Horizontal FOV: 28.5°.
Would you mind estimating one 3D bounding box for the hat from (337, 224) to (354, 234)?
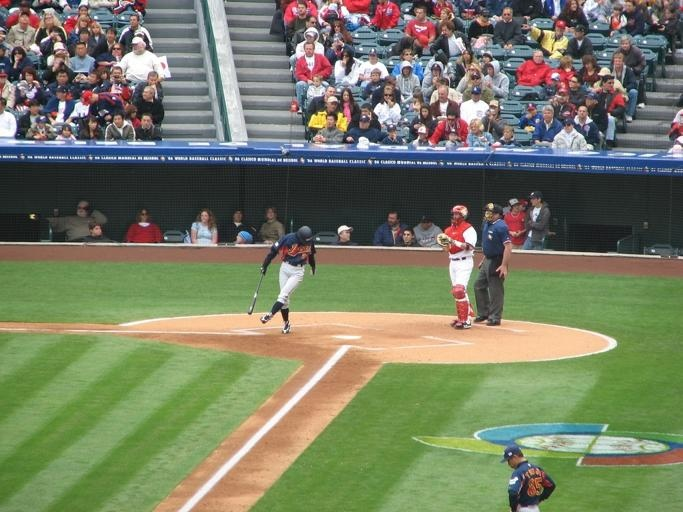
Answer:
[{"bbox_3d":[0.059,-0.657,32.517,0.295,0.137,0.207,-14,-4,30],"label":"hat"}]

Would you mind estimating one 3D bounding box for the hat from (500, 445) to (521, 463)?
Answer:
[{"bbox_3d":[2.370,2.773,18.644,0.281,0.143,0.188,-11,18,22],"label":"hat"}]

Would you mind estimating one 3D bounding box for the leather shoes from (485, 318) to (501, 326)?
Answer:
[{"bbox_3d":[2.999,1.286,26.022,0.266,0.224,0.123,1,8,1],"label":"leather shoes"}]

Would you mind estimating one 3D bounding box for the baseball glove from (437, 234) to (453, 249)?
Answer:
[{"bbox_3d":[1.986,-0.329,25.608,0.284,0.225,0.268,-18,-34,11],"label":"baseball glove"}]

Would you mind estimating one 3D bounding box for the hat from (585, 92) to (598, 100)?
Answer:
[{"bbox_3d":[6.170,-3.930,32.688,0.265,0.101,0.179,5,1,-35],"label":"hat"}]

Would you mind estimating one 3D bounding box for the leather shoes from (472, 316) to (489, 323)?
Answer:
[{"bbox_3d":[2.762,1.253,26.200,0.316,0.117,0.108,2,4,-9],"label":"leather shoes"}]

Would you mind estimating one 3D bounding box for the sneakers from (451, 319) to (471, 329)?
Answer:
[{"bbox_3d":[2.359,1.310,25.735,0.384,0.188,0.283,1,9,-1],"label":"sneakers"}]

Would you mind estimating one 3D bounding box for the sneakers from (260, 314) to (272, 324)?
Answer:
[{"bbox_3d":[-1.335,1.167,25.095,0.140,0.113,0.309,-18,10,26],"label":"sneakers"}]

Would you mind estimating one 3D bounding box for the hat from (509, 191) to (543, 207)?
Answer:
[{"bbox_3d":[4.391,-1.272,31.239,0.776,0.296,0.445,-6,10,-3],"label":"hat"}]

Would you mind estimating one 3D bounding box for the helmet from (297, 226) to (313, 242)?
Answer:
[{"bbox_3d":[-0.656,-0.419,25.039,0.253,0.298,0.544,0,8,-2],"label":"helmet"}]

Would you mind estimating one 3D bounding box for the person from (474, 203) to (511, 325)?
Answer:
[{"bbox_3d":[2.955,0.195,25.897,0.645,2.377,0.923,2,9,5],"label":"person"}]
